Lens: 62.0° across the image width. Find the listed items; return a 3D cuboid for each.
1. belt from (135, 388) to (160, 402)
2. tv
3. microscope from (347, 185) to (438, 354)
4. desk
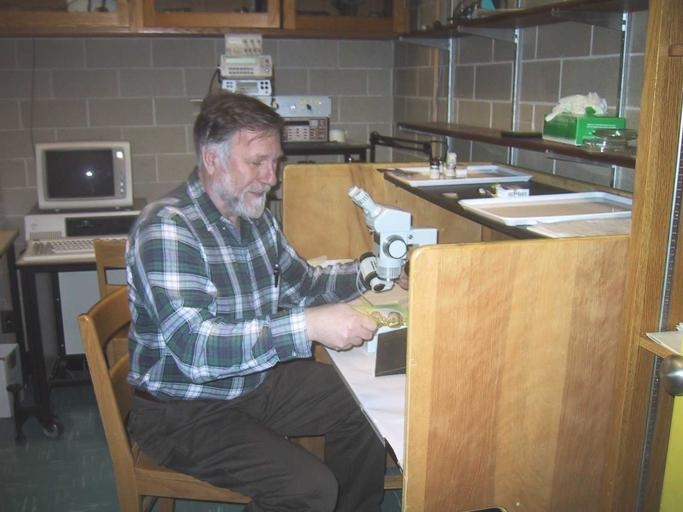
[{"bbox_3d":[-0.604,0.430,1.754,0.047,0.011,0.047,25,-4,5],"label":"belt"},{"bbox_3d":[-1.497,-0.451,3.418,0.697,0.503,0.368,-2,-4,-10],"label":"tv"},{"bbox_3d":[0.104,0.014,1.834,0.347,0.496,0.396,-2,12,-13],"label":"microscope"},{"bbox_3d":[-1.300,0.381,2.792,0.613,1.058,0.624,-1,13,-17],"label":"desk"}]
